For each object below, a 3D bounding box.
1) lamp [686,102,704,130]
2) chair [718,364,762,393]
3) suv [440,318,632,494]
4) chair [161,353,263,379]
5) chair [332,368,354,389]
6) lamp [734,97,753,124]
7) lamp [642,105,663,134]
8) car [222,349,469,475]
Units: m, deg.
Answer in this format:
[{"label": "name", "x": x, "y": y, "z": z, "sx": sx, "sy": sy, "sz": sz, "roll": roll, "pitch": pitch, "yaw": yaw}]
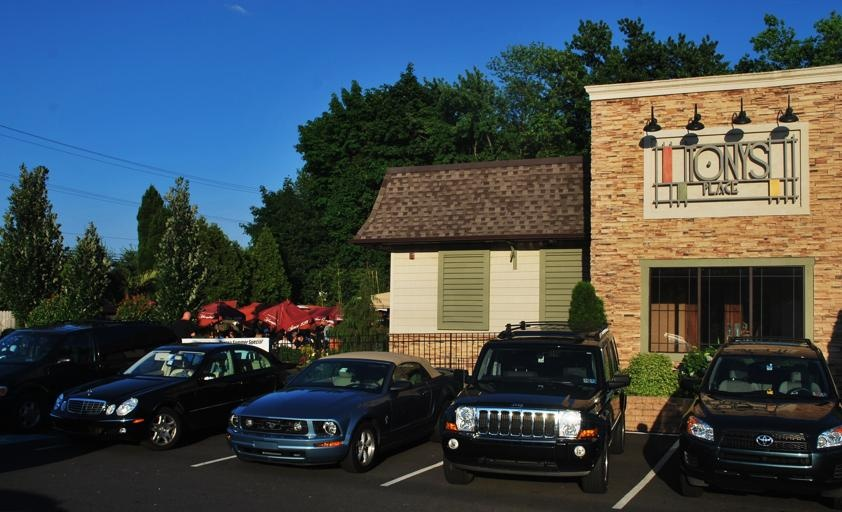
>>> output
[{"label": "lamp", "x": 8.575, "y": -4.276, "z": 22.587, "sx": 0.539, "sy": 0.858, "sz": 0.812, "roll": 5, "pitch": 15, "yaw": 19}, {"label": "chair", "x": 7.044, "y": 2.760, "z": 16.079, "sx": 0.577, "sy": 0.561, "sz": 0.570, "roll": 2, "pitch": -14, "yaw": 20}, {"label": "suv", "x": 2.574, "y": 3.494, "z": 15.663, "sx": 4.207, "sy": 2.779, "sz": 2.895, "roll": -10, "pitch": 17, "yaw": -35}, {"label": "chair", "x": -5.483, "y": 2.903, "z": 18.960, "sx": 0.835, "sy": 0.497, "sz": 1.582, "roll": -4, "pitch": -7, "yaw": 40}, {"label": "chair", "x": -1.863, "y": 2.930, "z": 17.367, "sx": 0.338, "sy": 0.441, "sz": 0.423, "roll": -2, "pitch": -7, "yaw": 14}, {"label": "lamp", "x": 9.886, "y": -4.438, "z": 22.273, "sx": 0.555, "sy": 0.815, "sz": 0.704, "roll": 5, "pitch": 15, "yaw": 21}, {"label": "lamp", "x": 7.304, "y": -4.338, "z": 22.911, "sx": 0.724, "sy": 0.807, "sz": 0.731, "roll": -2, "pitch": -4, "yaw": 8}, {"label": "car", "x": -1.816, "y": 3.528, "z": 16.538, "sx": 2.560, "sy": 1.626, "sz": 5.168, "roll": -3, "pitch": -7, "yaw": 31}]
